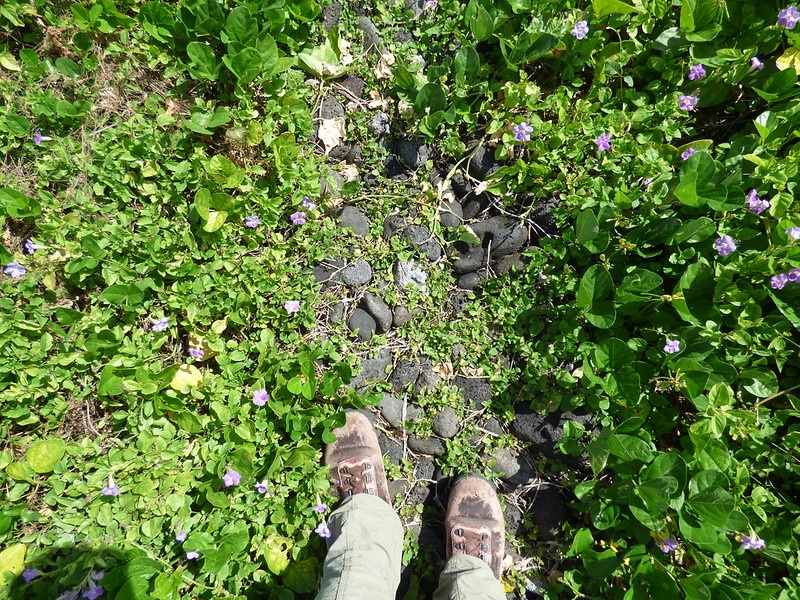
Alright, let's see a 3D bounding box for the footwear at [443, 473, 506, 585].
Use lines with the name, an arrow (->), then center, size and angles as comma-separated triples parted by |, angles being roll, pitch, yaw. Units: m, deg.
footwear -> 0.468, 1.353, 3.434 | 0.253, 0.284, 0.731 | 0, 88, 8
